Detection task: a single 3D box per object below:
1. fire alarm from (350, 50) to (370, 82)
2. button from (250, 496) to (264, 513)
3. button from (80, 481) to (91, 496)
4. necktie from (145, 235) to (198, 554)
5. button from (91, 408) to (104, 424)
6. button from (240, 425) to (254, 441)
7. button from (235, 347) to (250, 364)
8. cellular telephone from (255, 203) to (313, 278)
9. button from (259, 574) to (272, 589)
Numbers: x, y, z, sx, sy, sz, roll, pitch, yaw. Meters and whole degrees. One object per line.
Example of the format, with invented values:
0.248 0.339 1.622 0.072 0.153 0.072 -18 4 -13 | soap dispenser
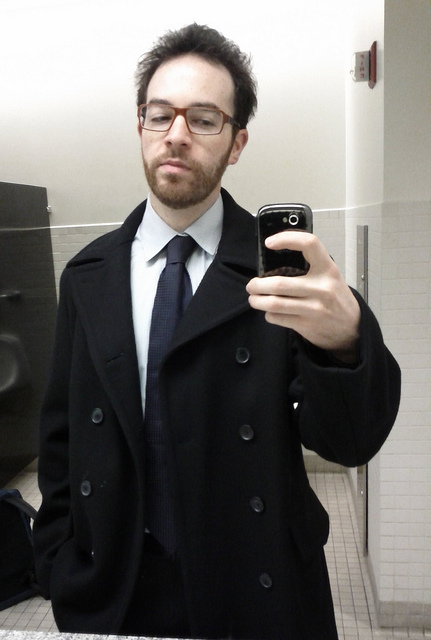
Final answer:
0.396 -0.691 1.401 0.040 0.074 0.067 -3 12 8 | fire alarm
0.050 0.222 0.620 0.016 0.018 0.004 -1 -4 39 | button
-0.172 0.223 0.681 0.011 0.017 0.024 -10 13 -27 | button
-0.057 0.092 0.695 0.056 0.400 0.149 -1 12 15 | necktie
-0.155 0.126 0.676 0.019 0.021 0.005 -10 -14 40 | button
0.038 0.138 0.618 0.017 0.021 0.009 -1 12 15 | button
0.032 0.045 0.624 0.019 0.020 0.014 -1 12 15 | button
0.059 -0.068 0.441 0.046 0.089 0.013 -3 52 4 | cellular telephone
0.060 0.316 0.622 0.013 0.019 0.005 -12 3 28 | button
